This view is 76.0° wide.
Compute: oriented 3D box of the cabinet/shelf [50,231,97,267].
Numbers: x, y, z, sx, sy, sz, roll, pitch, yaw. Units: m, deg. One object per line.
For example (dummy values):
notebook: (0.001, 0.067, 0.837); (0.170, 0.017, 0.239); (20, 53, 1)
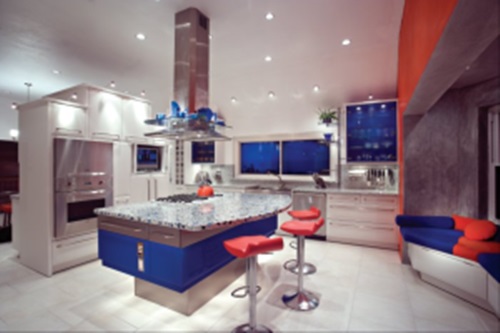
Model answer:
cabinet/shelf: (-3.062, 1.464, 5.570); (0.490, 0.486, 0.735); (-1, 0, 29)

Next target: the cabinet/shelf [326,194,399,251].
cabinet/shelf: (2.359, 1.027, 6.760); (1.712, 1.252, 0.975); (-1, -5, 24)

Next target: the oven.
oven: (-3.035, 0.699, 5.803); (0.958, 0.856, 0.616); (-4, 17, -43)

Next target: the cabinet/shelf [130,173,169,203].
cabinet/shelf: (-2.033, 0.423, 6.372); (0.249, 0.528, 0.595); (4, 3, 30)

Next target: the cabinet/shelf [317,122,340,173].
cabinet/shelf: (1.791, -0.415, 7.067); (0.426, 0.909, 0.575); (-2, 1, 40)

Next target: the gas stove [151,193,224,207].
gas stove: (-1.021, 0.530, 5.224); (0.655, 0.155, 1.015); (-2, 1, 42)

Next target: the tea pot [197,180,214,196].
tea pot: (-0.743, 0.395, 5.573); (0.332, 0.318, 0.318); (0, 0, 0)

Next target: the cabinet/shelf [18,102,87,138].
cabinet/shelf: (-3.411, -0.833, 5.594); (0.647, 0.858, 0.928); (4, 3, 37)

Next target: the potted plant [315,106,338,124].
potted plant: (1.722, -1.152, 7.019); (0.419, 0.283, 0.399); (-3, 4, -25)

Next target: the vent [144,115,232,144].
vent: (-1.143, -0.624, 5.245); (1.079, 0.234, 0.979); (-3, -2, -5)
